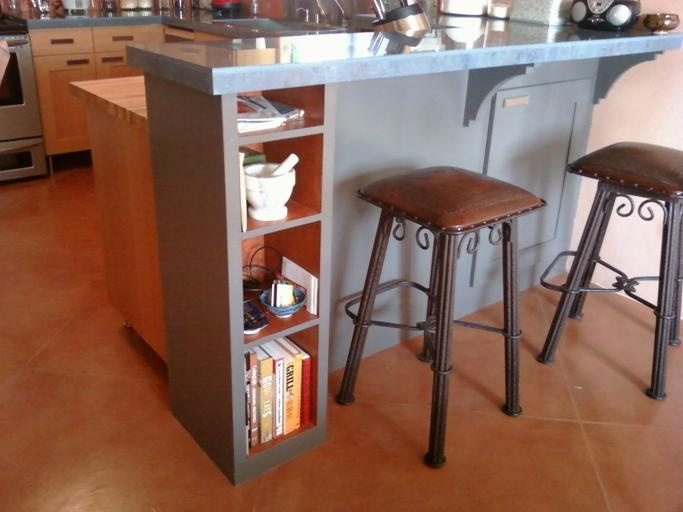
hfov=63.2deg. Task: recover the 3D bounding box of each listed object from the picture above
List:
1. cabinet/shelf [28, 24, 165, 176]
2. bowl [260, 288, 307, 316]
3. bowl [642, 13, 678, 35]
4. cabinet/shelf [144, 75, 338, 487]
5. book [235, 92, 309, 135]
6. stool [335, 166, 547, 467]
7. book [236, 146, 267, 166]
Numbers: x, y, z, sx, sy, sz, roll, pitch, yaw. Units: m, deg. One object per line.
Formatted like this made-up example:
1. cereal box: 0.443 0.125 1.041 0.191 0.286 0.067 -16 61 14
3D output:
1. cabinet/shelf: -2.152 -1.414 4.634 0.382 1.133 1.169 17 29 19
2. bowl: -0.208 0.157 1.922 0.107 0.046 0.109 0 29 0
3. bowl: 1.388 -1.034 2.445 0.128 0.073 0.123 1 26 0
4. cabinet/shelf: -0.339 0.057 2.033 0.514 1.395 0.492 -13 25 -36
5. book: -0.221 -0.456 1.751 0.206 0.060 0.335 -3 26 -8
6. stool: 0.372 0.186 2.196 0.733 0.954 0.694 -5 22 -12
7. book: -0.306 -0.340 1.863 0.087 0.021 0.090 -15 36 -28
